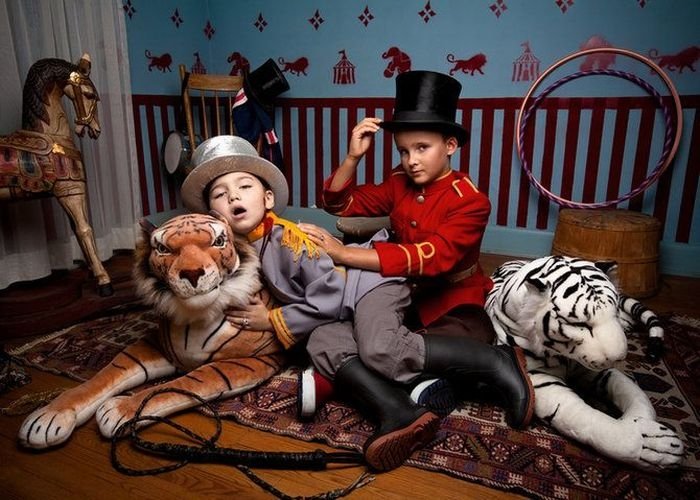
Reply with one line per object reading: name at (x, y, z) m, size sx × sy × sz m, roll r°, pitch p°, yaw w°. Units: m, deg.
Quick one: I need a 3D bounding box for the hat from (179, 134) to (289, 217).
hat at (-0.508, -0.310, 2.009) m, size 0.443 × 0.173 × 0.370 m, roll -18°, pitch -16°, yaw -1°

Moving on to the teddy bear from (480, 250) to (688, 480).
teddy bear at (0.795, 0.328, 1.743) m, size 0.494 × 0.271 × 0.707 m, roll -13°, pitch 25°, yaw -1°

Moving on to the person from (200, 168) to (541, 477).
person at (0.080, 0.240, 2.060) m, size 1.402 × 0.795 × 0.950 m, roll 22°, pitch 1°, yaw 0°

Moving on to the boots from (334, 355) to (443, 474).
boots at (0.162, 0.572, 1.677) m, size 0.123 × 0.269 × 0.284 m, roll 31°, pitch 53°, yaw -8°

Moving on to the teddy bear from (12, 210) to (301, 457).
teddy bear at (-0.604, 0.213, 1.947) m, size 0.489 × 0.542 × 1.087 m, roll 12°, pitch 17°, yaw 21°

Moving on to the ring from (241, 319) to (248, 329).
ring at (-0.403, 0.277, 1.839) m, size 0.022 × 0.011 × 0.029 m, roll 28°, pitch -4°, yaw -30°

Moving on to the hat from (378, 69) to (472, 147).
hat at (0.331, -0.609, 2.146) m, size 0.404 × 0.226 × 0.413 m, roll 5°, pitch 6°, yaw -21°

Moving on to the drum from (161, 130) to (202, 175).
drum at (-1.152, -0.634, 3.312) m, size 0.261 × 0.281 × 0.158 m, roll 1°, pitch 1°, yaw 42°

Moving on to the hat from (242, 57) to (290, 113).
hat at (-0.563, -1.114, 3.349) m, size 0.176 × 0.299 × 0.348 m, roll -30°, pitch 21°, yaw 3°

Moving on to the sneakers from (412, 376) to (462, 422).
sneakers at (0.313, 0.570, 1.784) m, size 0.090 × 0.091 × 0.211 m, roll -33°, pitch 40°, yaw -22°
